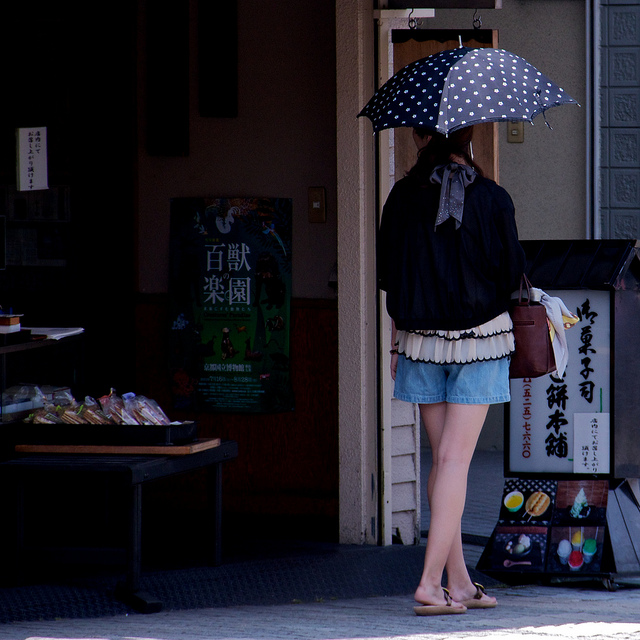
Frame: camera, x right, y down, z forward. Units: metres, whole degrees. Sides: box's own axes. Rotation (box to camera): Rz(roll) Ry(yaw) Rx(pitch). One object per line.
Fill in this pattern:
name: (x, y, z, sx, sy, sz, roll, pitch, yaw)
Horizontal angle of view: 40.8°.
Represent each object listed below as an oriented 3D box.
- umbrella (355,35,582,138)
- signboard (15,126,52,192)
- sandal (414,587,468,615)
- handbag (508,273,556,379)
umbrella: (0.546, -0.896, 3.360, 0.851, 0.412, 0.922, -10, 17, -20)
signboard: (-1.779, -0.986, 5.260, 0.205, 0.365, 0.077, -3, -6, 9)
sandal: (0.434, 1.045, 3.152, 0.158, 0.079, 0.081, -1, 0, -20)
handbag: (0.801, 0.027, 3.222, 0.178, 0.367, 0.158, -3, -6, 12)
